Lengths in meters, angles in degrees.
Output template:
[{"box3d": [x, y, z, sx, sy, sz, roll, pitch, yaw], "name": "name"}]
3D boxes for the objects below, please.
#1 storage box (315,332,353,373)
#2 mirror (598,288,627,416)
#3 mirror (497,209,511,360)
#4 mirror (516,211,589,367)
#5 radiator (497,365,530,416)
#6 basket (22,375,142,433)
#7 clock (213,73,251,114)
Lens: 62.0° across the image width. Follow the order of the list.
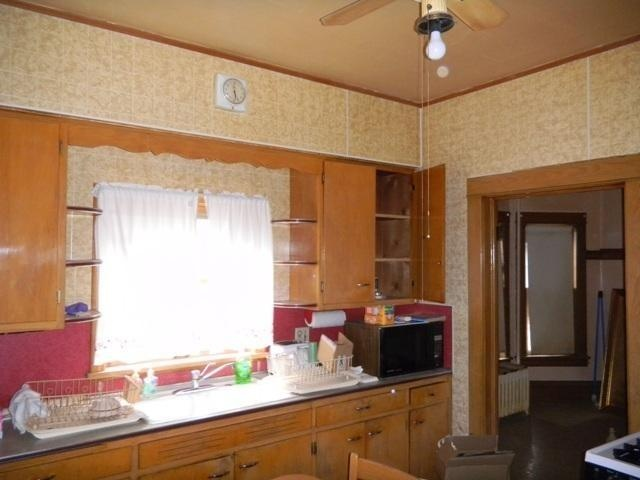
[{"box3d": [0.105, 0.883, 4.115, 0.284, 0.389, 0.213, 2, 2, -42], "name": "storage box"}, {"box3d": [2.004, 0.757, 3.670, 0.032, 0.634, 0.184, 0, -3, -42], "name": "mirror"}, {"box3d": [1.470, 0.363, 4.258, 0.039, 1.182, 0.129, -1, -2, -37], "name": "mirror"}, {"box3d": [1.731, 0.360, 3.980, 0.094, 0.788, 0.511, -1, -3, -39], "name": "mirror"}, {"box3d": [1.529, 1.203, 4.213, 0.062, 0.448, 0.266, -1, -2, -33], "name": "radiator"}, {"box3d": [-1.445, 0.991, 3.279, 0.656, 0.238, 0.471, -1, -3, -26], "name": "basket"}, {"box3d": [-0.629, -1.035, 3.744, 0.239, 0.224, 0.055, 1, 2, -40], "name": "clock"}]
